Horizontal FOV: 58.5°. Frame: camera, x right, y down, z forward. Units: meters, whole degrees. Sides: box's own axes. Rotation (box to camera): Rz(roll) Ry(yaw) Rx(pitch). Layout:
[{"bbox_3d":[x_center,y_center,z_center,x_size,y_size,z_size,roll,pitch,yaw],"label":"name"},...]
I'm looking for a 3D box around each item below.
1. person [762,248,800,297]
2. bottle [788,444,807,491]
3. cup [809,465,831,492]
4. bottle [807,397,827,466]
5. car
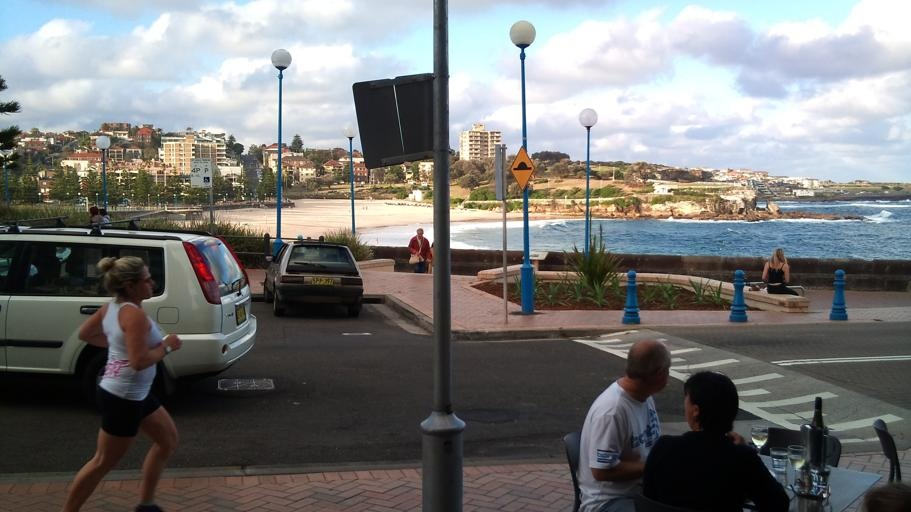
[{"bbox_3d":[8.228,0.345,20.615,0.693,1.188,1.878,0,5,22],"label":"person"},{"bbox_3d":[3.597,2.227,8.561,0.182,0.441,0.342,0,5,21],"label":"bottle"},{"bbox_3d":[3.775,2.302,8.472,0.255,0.237,0.239,-2,4,0],"label":"cup"},{"bbox_3d":[3.832,1.827,8.569,0.192,0.789,0.409,0,5,23],"label":"bottle"},{"bbox_3d":[-3.400,0.340,20.002,1.584,0.976,2.493,-1,9,-12],"label":"car"}]
